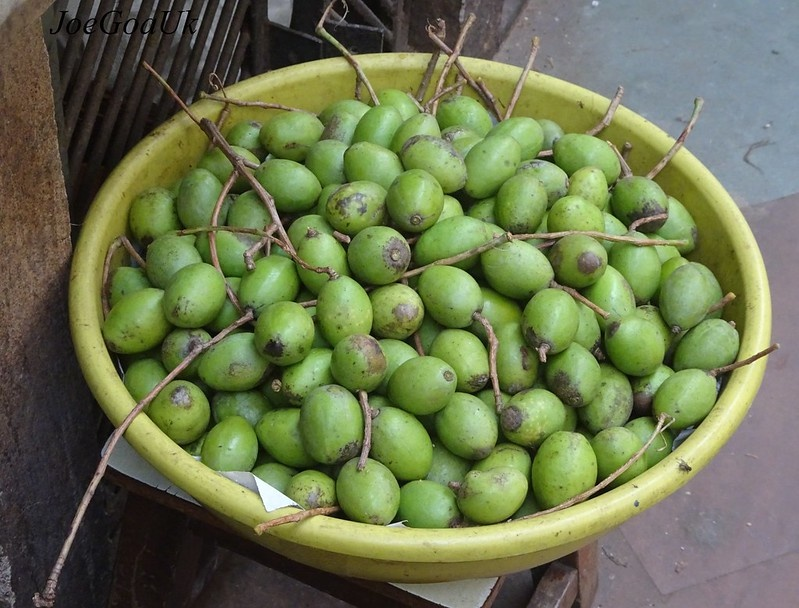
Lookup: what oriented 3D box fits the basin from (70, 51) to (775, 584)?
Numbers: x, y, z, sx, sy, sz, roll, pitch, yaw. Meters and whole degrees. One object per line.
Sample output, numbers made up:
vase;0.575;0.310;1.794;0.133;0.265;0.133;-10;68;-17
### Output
basin;0.068;-0.097;1.929;1.575;0.349;1.393;-12;64;-8
